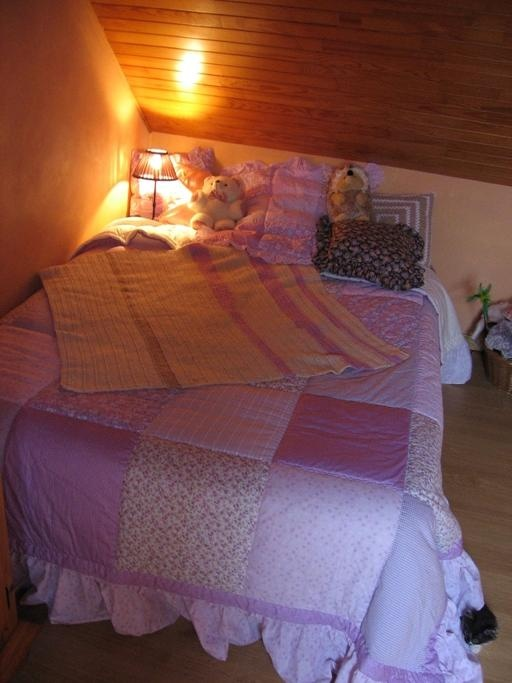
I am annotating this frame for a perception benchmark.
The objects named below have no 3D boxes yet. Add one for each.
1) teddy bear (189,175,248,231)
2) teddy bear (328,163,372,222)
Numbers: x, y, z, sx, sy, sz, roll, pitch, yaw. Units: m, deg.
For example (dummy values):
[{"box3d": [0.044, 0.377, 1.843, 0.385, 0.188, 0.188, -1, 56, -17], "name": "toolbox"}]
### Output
[{"box3d": [-0.185, -0.673, 2.758, 0.287, 0.287, 0.206, 10, 10, -2], "name": "teddy bear"}, {"box3d": [0.435, -0.719, 2.601, 0.217, 0.362, 0.237, 1, 53, 10], "name": "teddy bear"}]
